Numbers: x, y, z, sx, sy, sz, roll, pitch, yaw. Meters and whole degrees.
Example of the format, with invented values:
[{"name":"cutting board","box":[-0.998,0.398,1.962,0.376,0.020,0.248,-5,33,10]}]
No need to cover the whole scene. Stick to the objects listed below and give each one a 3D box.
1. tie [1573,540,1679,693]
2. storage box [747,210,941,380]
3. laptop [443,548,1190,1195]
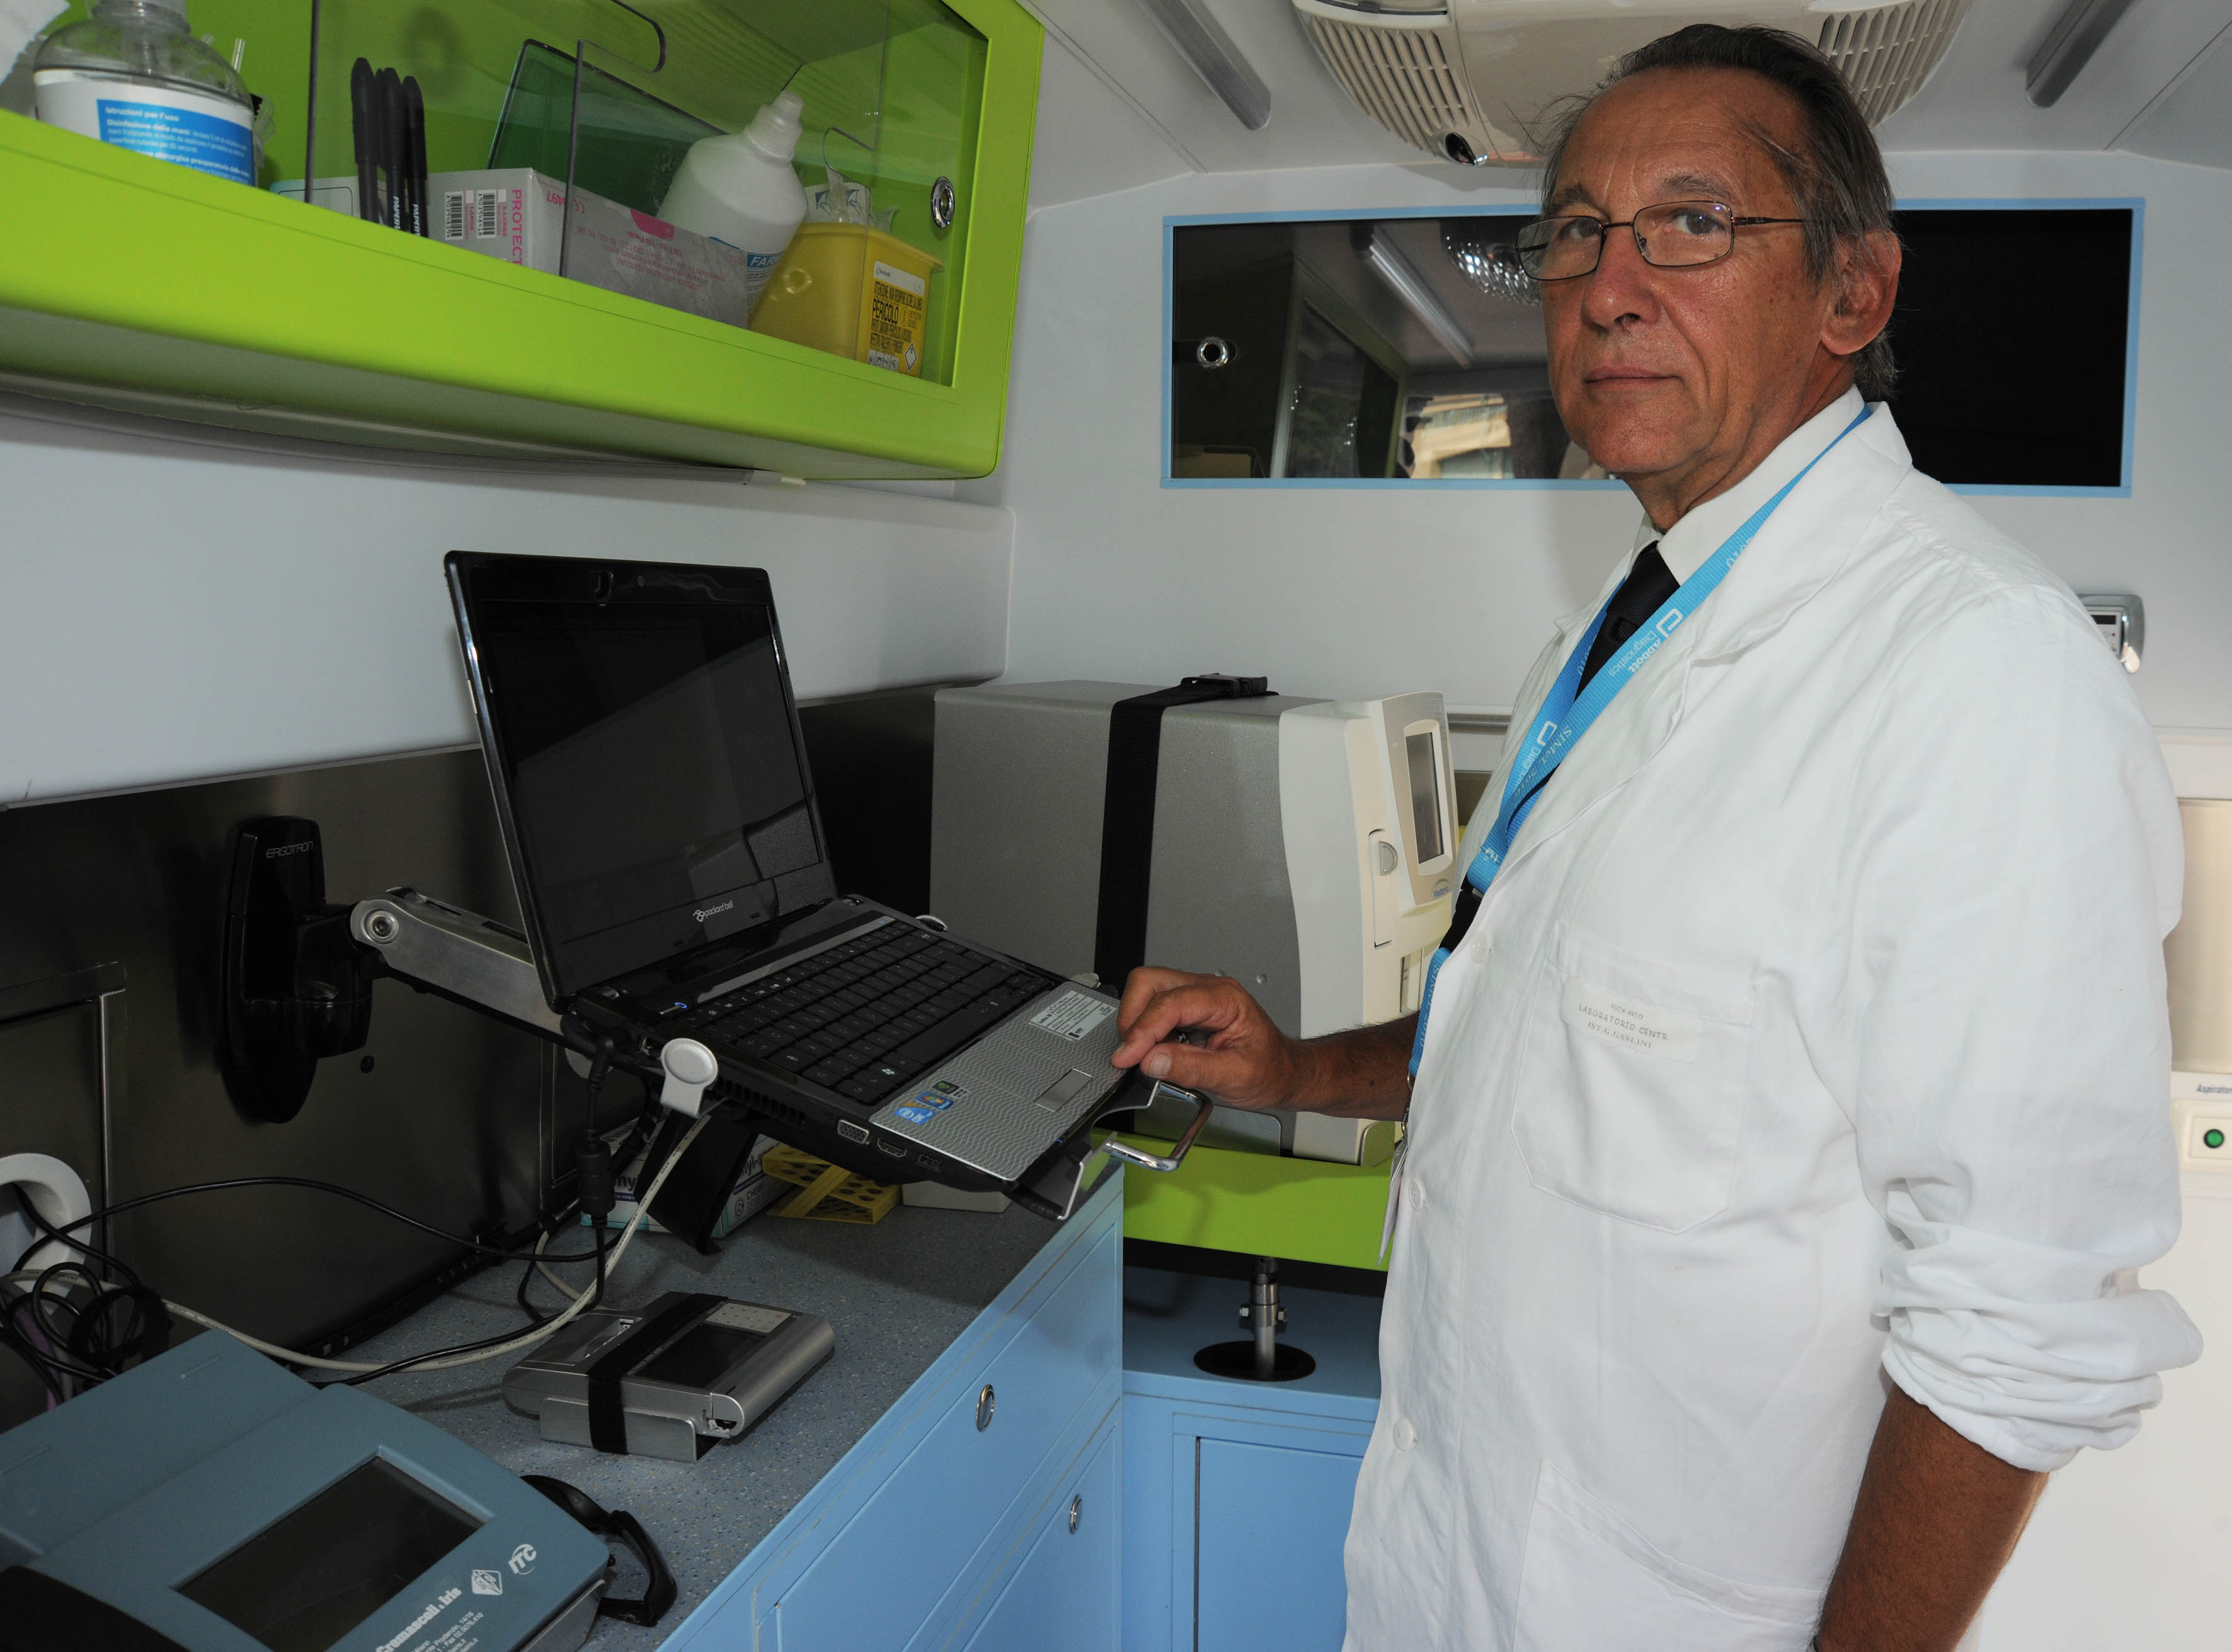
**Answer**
[{"name":"tie","box":[0.457,-0.185,1.403,0.030,0.123,0.075,28,29,-15]},{"name":"storage box","box":[-0.263,-0.529,1.568,0.122,0.110,0.180,16,6,12]},{"name":"laptop","box":[-0.237,0.007,1.414,0.522,0.509,0.446,4,12,20]}]
